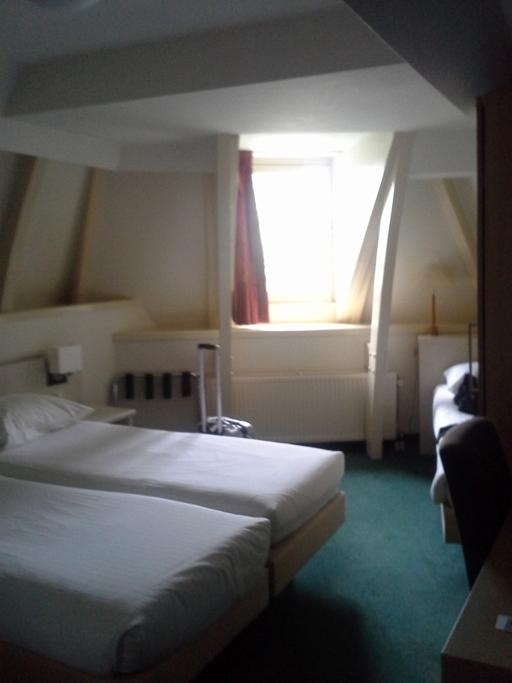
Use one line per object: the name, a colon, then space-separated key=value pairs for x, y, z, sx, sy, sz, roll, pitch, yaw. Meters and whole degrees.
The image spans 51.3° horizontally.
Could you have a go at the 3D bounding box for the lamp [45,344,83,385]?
lamp: x=-1.118 y=0.130 z=3.061 sx=0.111 sy=0.213 sz=0.211 roll=9 pitch=13 yaw=27

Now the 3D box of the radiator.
radiator: x=0.393 y=0.531 z=4.188 sx=1.344 sy=0.500 sz=0.433 roll=-1 pitch=5 yaw=-1
